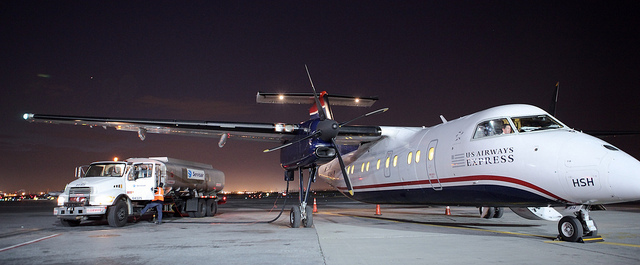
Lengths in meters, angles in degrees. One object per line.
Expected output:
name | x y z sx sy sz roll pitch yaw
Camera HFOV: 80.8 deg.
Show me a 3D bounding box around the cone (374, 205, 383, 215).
cone | 4.883 6.503 31.725 1.023 0.813 0.863 -1 -9 -1
